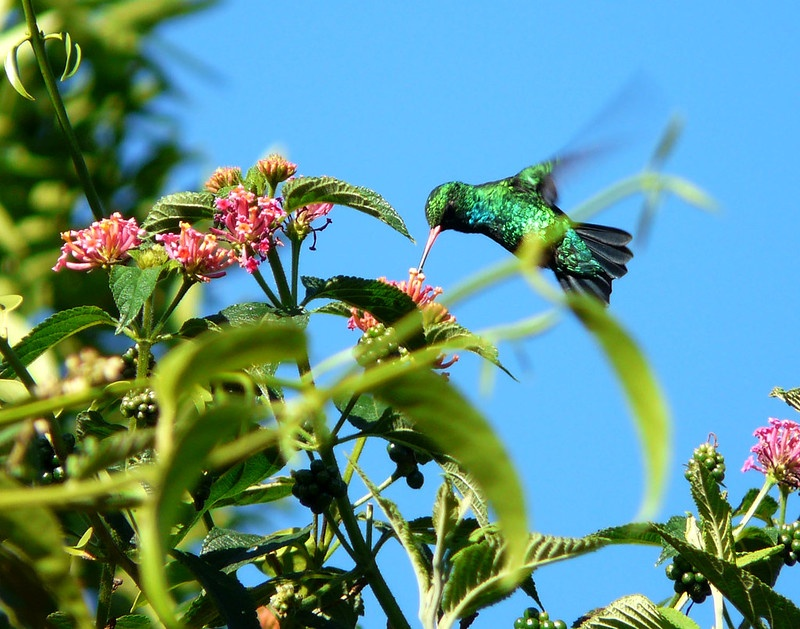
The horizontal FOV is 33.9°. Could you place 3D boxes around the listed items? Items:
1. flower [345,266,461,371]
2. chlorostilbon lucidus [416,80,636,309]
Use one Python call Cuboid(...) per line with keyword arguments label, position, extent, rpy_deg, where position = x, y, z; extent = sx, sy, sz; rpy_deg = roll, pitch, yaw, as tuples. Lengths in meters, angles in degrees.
Cuboid(label="flower", position=(0.011, -0.029, 2.472), extent=(0.183, 0.194, 0.093), rpy_deg=(17, -70, 7))
Cuboid(label="chlorostilbon lucidus", position=(0.477, -0.407, 5.021), extent=(0.797, 0.676, 0.508), rpy_deg=(-2, 4, -2))
